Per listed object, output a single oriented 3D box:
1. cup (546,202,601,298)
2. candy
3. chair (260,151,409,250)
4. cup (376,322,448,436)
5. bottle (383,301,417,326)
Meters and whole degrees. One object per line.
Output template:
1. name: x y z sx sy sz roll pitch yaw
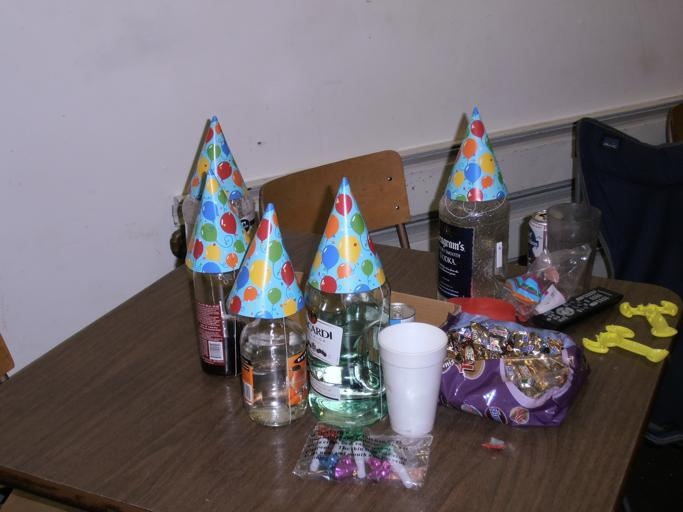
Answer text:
1. cup: 0.449 -0.009 1.143 0.109 0.209 0.116 -9 32 6
2. candy: 0.240 0.160 0.844 0.180 0.148 0.067 14 -14 8
3. chair: -0.067 -0.193 1.724 0.309 0.337 0.438 -10 13 -26
4. cup: 0.102 0.179 0.843 0.098 0.137 0.096 -2 23 1
5. bottle: 0.096 0.090 0.961 0.032 0.023 0.034 -2 34 1
